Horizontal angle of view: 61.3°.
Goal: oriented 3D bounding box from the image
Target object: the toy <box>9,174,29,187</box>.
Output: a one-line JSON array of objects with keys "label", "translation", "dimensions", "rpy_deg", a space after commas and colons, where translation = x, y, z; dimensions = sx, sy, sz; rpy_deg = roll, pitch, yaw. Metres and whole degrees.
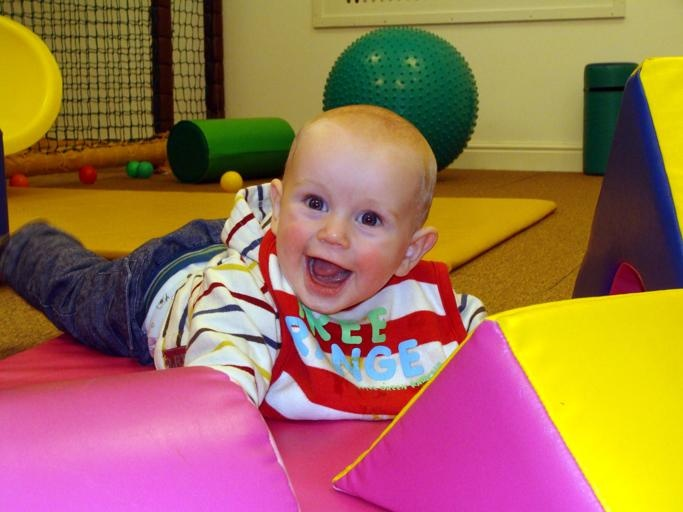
[{"label": "toy", "translation": [-1.415, -0.329, 2.534], "dimensions": [0.073, 0.080, 0.071], "rpy_deg": [12, 6, -35]}]

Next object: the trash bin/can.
[{"label": "trash bin/can", "translation": [1.399, -0.725, 3.109], "dimensions": [0.242, 0.606, 0.185], "rpy_deg": [11, 20, 26]}]

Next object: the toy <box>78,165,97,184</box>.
[{"label": "toy", "translation": [-1.222, -0.388, 2.776], "dimensions": [0.076, 0.112, 0.084], "rpy_deg": [2, 0, -7]}]
